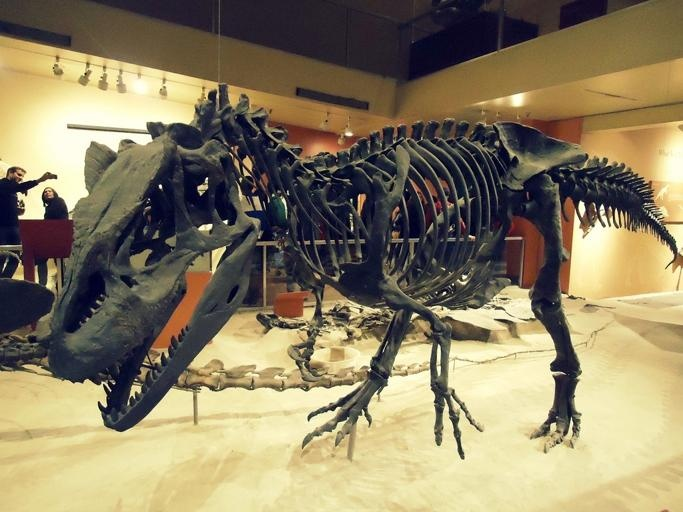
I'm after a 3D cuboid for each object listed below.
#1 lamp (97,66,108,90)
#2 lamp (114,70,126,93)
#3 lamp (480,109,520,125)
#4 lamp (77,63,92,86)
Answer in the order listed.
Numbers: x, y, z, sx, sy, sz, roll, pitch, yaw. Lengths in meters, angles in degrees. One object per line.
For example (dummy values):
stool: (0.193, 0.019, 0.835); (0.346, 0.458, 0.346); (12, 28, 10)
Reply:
lamp: (-2.975, -2.232, 6.449); (0.144, 0.307, 0.144); (-5, 23, -38)
lamp: (-2.810, -2.240, 6.590); (0.093, 0.241, 0.092); (-12, 40, -21)
lamp: (2.502, -2.168, 8.130); (0.611, 0.170, 0.705); (6, 8, 16)
lamp: (-3.170, -2.256, 6.377); (0.126, 0.268, 0.128); (30, 13, 16)
